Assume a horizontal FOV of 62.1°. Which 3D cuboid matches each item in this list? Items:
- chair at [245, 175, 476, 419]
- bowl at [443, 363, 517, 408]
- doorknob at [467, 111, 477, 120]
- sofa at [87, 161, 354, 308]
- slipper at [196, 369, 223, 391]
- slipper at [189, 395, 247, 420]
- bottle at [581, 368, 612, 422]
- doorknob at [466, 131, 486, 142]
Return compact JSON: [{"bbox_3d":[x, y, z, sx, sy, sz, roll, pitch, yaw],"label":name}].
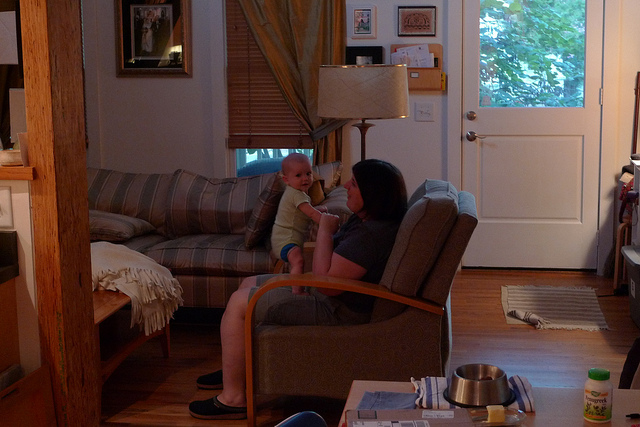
[{"bbox_3d":[0.239,0.340,2.883,1.029,1.077,1.069,0,2,7],"label":"chair"},{"bbox_3d":[0.514,0.551,1.698,0.230,0.089,0.141,0,13,5],"label":"bowl"},{"bbox_3d":[1.361,-0.873,4.737,0.073,0.066,0.032,1,12,8],"label":"doorknob"},{"bbox_3d":[-0.954,0.133,3.863,2.010,0.819,0.853,0,15,24],"label":"sofa"},{"bbox_3d":[-0.597,0.912,2.915,0.206,0.085,0.077,2,0,3],"label":"slipper"},{"bbox_3d":[-0.516,0.971,2.640,0.298,0.100,0.082,4,13,19],"label":"slipper"},{"bbox_3d":[0.845,0.536,1.604,0.081,0.155,0.111,6,14,30],"label":"bottle"},{"bbox_3d":[1.384,-0.685,4.752,0.123,0.090,0.048,-3,12,-11],"label":"doorknob"}]
